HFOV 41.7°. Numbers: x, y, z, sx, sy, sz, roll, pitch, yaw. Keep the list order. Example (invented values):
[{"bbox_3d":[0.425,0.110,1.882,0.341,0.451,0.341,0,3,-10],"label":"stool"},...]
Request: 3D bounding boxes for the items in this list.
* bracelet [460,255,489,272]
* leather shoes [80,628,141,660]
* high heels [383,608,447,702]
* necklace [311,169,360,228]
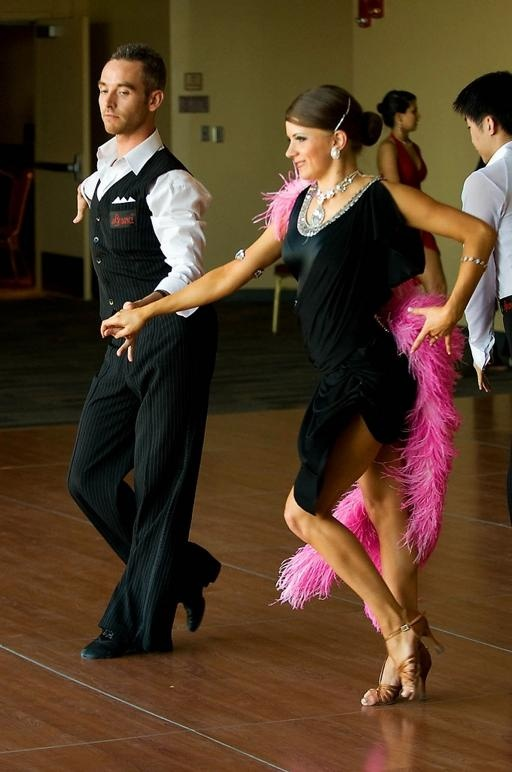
[{"bbox_3d":[0.394,-0.217,1.225,0.035,0.010,0.035,23,-5,-39],"label":"bracelet"},{"bbox_3d":[-0.379,0.683,1.799,0.179,0.100,0.060,6,1,-13],"label":"leather shoes"},{"bbox_3d":[0.329,0.569,1.426,0.090,0.213,0.070,-1,2,41],"label":"high heels"},{"bbox_3d":[0.134,-0.361,1.297,0.102,0.103,0.126,8,20,21],"label":"necklace"}]
